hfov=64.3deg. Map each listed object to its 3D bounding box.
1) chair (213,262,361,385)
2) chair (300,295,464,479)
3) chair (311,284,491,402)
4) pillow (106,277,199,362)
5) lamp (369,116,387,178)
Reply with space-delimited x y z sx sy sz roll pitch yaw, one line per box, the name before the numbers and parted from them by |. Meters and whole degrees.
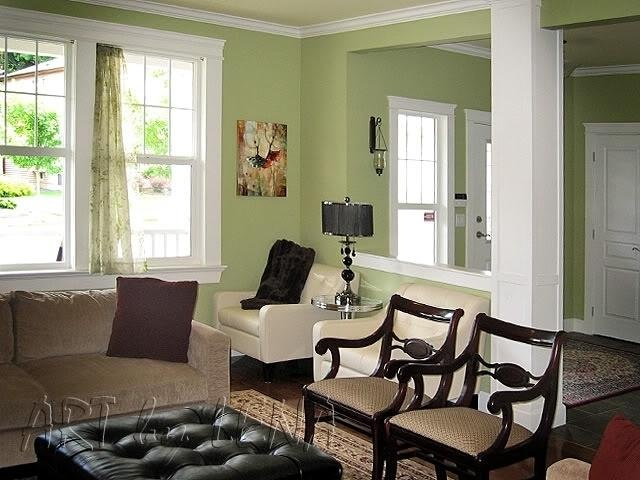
chair | -0.329 0.695 5.090 1.128 0.916 1.071 0 2 -34
chair | 0.338 0.819 3.544 1.036 1.365 0.936 5 -3 -40
chair | 0.659 0.639 4.029 1.037 0.985 0.987 5 -3 -41
pillow | -1.183 0.553 3.606 0.562 0.574 0.262 6 -8 2
lamp | 0.614 -1.001 5.407 0.211 0.634 0.436 1 8 7
